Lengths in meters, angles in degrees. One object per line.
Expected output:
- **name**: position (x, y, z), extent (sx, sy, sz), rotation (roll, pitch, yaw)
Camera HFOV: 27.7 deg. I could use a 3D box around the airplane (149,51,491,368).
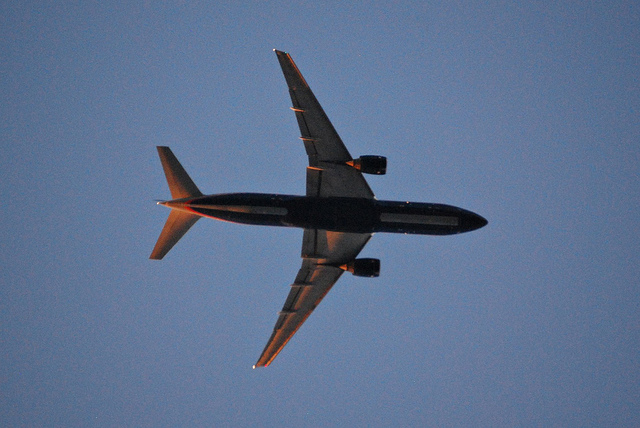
- **airplane**: position (-0.160, -0.068, 49.207), extent (13.662, 12.179, 3.045), rotation (4, -2, 17)
